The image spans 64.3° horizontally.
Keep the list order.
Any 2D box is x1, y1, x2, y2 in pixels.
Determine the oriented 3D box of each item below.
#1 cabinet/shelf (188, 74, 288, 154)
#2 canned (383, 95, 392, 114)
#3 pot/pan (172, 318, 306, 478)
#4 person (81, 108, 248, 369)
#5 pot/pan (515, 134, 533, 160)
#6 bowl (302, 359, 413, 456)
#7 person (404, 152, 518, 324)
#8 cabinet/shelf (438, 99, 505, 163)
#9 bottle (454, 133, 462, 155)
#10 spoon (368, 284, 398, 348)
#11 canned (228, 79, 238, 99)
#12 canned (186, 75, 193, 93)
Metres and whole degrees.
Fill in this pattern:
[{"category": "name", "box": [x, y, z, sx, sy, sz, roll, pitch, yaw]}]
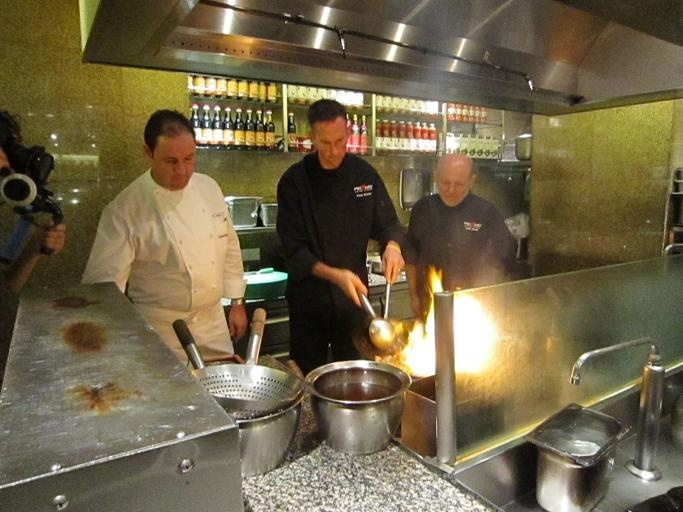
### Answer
[{"category": "cabinet/shelf", "box": [-0.713, -0.980, 3.772, 0.521, 0.492, 0.278, -5, 17, -29]}, {"category": "canned", "box": [0.376, -1.230, 4.376, 0.076, 0.107, 0.031, 0, 3, -19]}, {"category": "pot/pan", "box": [-0.261, 0.368, 1.492, 0.247, 0.351, 0.365, -10, 13, -38]}, {"category": "person", "box": [-0.742, -0.071, 2.336, 0.425, 1.060, 0.656, 1, 11, 15]}, {"category": "pot/pan", "box": [1.414, -0.847, 4.197, 0.101, 0.195, 0.315, 1, 11, 15]}, {"category": "bowl", "box": [0.106, 0.400, 1.592, 0.251, 0.273, 0.171, 5, 43, 9]}, {"category": "person", "box": [0.614, -0.083, 2.836, 0.583, 0.892, 0.310, 1, 11, 16]}, {"category": "cabinet/shelf", "box": [1.143, -1.144, 5.004, 0.575, 0.512, 0.219, -2, -3, -24]}, {"category": "bottle", "box": [1.035, -1.004, 4.839, 0.048, 0.142, 0.140, 2, 11, 21]}, {"category": "spoon", "box": [0.183, 0.261, 2.489, 0.112, 0.198, 0.373, 12, 47, -8]}, {"category": "canned", "box": [-0.728, -1.118, 3.629, 0.075, 0.110, 0.035, -7, 11, -24]}, {"category": "canned", "box": [-0.959, -1.089, 3.436, 0.032, 0.101, 0.072, -2, 10, -2]}]
